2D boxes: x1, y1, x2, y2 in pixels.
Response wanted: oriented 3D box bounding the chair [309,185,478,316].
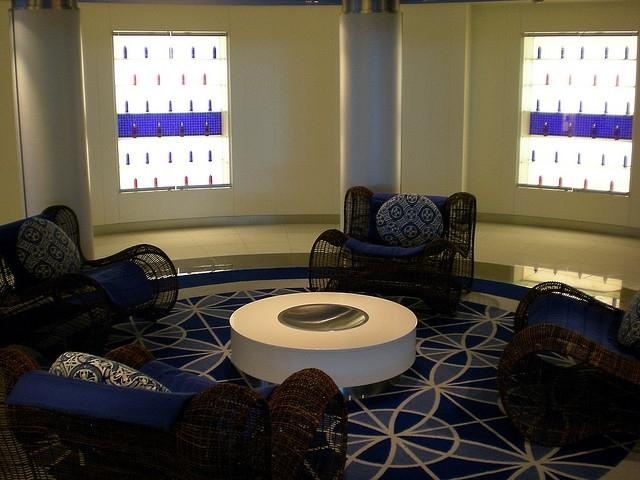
[{"bbox_3d":[0.872,0.054,5.836,1.565,1.175,1.227,3,13,27],"label":"chair"}]
